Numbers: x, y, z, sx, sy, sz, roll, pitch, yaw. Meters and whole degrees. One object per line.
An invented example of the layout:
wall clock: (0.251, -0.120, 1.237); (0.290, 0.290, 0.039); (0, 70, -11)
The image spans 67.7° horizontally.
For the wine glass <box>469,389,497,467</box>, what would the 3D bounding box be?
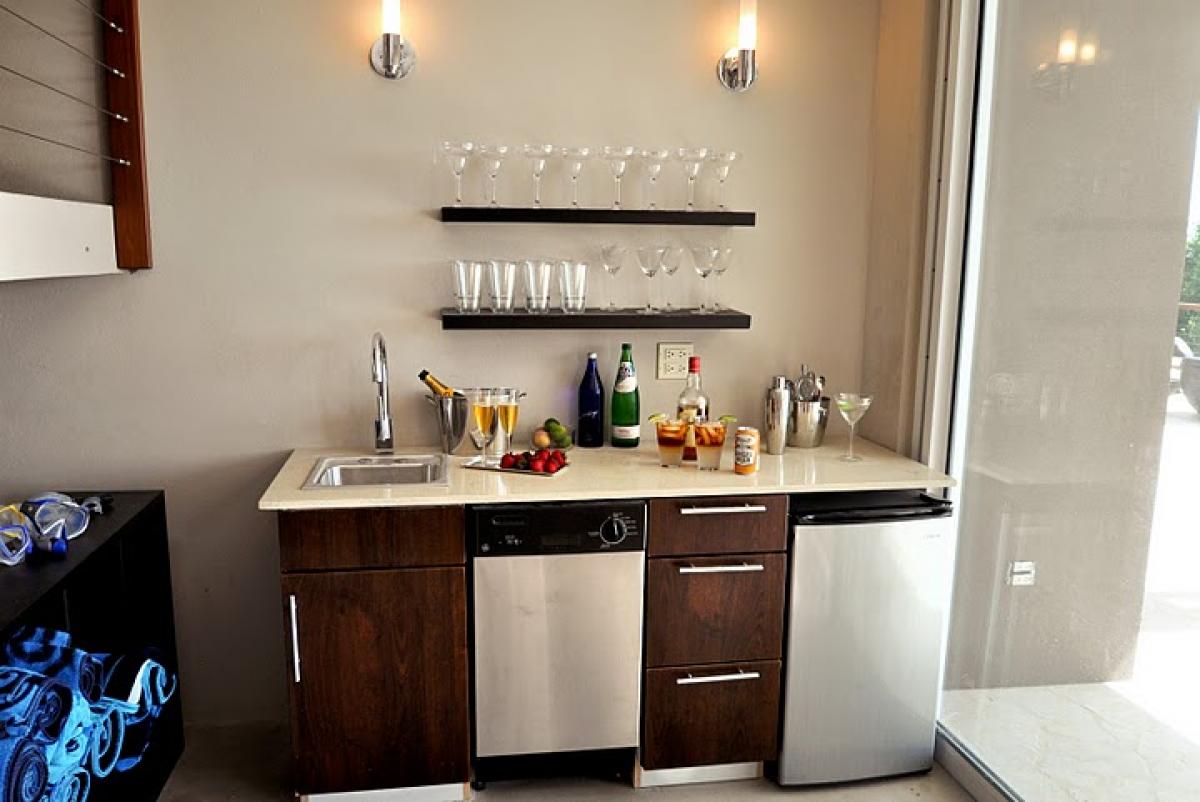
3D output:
wine glass: (-0.454, 0.089, 3.435); (0.097, 0.263, 0.274); (0, 4, -9)

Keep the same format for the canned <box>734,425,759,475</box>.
canned: (0.545, 0.186, 3.338); (0.079, 0.167, 0.042); (0, 4, -6)

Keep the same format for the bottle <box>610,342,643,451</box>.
bottle: (0.112, -0.025, 3.704); (0.122, 0.422, 0.093); (0, 4, -12)

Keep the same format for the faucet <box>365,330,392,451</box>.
faucet: (-0.864, -0.033, 3.552); (0.086, 0.476, 0.223); (-1, 4, -15)

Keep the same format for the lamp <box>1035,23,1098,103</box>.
lamp: (1.573, -1.153, 3.023); (0.173, 0.207, 0.173); (-6, 17, -35)

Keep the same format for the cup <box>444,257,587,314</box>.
cup: (-0.320, -0.460, 3.607); (0.544, 0.214, 0.229); (1, 3, -1)

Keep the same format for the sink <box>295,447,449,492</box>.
sink: (-0.830, 0.277, 3.368); (0.510, 0.117, 0.410); (0, 3, -9)

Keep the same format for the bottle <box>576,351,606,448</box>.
bottle: (-0.040, -0.007, 3.727); (0.115, 0.384, 0.103); (0, 4, -2)

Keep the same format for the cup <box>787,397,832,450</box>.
cup: (0.857, 0.092, 3.691); (0.187, 0.157, 0.178); (0, 6, 0)

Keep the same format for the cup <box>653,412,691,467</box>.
cup: (0.274, 0.148, 3.510); (0.157, 0.217, 0.174); (0, 4, 4)

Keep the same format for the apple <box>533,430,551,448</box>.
apple: (-0.230, 0.151, 3.541); (0.071, 0.071, 0.108); (0, 3, -2)

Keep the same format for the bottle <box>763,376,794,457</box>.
bottle: (0.741, 0.053, 3.716); (0.119, 0.311, 0.304); (1, 4, 10)

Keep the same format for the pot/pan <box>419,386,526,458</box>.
pot/pan: (-0.477, 0.072, 3.466); (0.377, 0.216, 0.256); (0, 0, -4)

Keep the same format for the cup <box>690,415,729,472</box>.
cup: (0.410, 0.159, 3.378); (0.113, 0.200, 0.114); (0, 4, 0)
